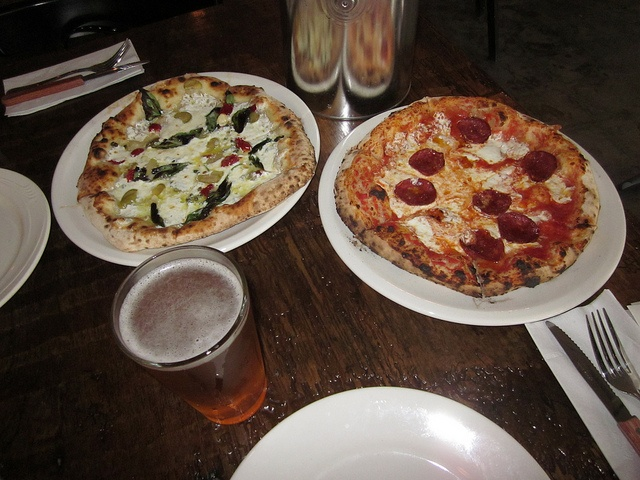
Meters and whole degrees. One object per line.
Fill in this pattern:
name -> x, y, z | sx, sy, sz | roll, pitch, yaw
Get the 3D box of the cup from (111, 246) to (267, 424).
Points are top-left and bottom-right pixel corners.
cup -> -0.267, 0.225, 1.256 | 0.323, 0.323, 0.287 | 33, 66, 22
